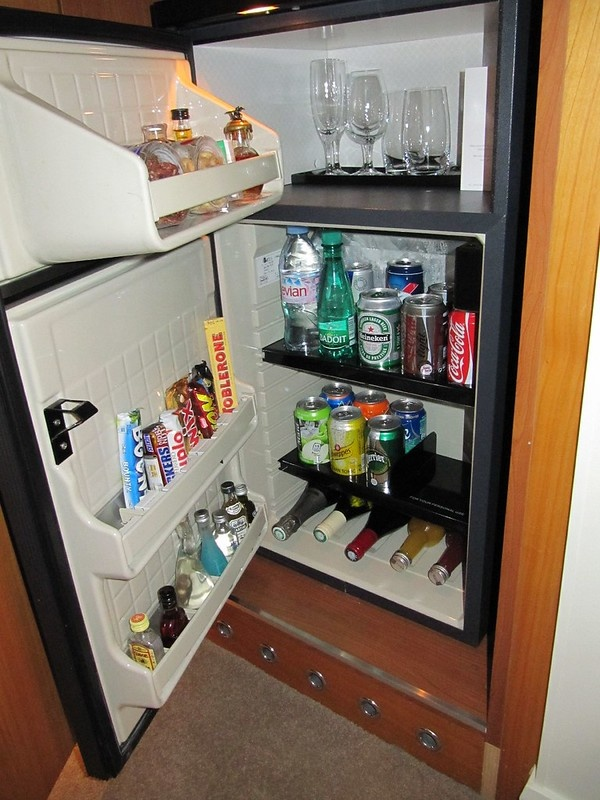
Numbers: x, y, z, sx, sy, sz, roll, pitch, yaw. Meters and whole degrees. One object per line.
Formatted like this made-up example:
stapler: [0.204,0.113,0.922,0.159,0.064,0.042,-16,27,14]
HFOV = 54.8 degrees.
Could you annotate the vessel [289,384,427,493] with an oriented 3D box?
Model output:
vessel: [0.123,0.069,1.315,0.248,0.169,0.160,13,38,25]

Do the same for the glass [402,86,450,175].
glass: [0.250,-0.533,1.163,0.102,0.159,0.101,14,31,35]

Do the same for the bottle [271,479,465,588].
bottle: [0.159,0.298,1.358,0.279,0.061,0.206,14,24,24]
